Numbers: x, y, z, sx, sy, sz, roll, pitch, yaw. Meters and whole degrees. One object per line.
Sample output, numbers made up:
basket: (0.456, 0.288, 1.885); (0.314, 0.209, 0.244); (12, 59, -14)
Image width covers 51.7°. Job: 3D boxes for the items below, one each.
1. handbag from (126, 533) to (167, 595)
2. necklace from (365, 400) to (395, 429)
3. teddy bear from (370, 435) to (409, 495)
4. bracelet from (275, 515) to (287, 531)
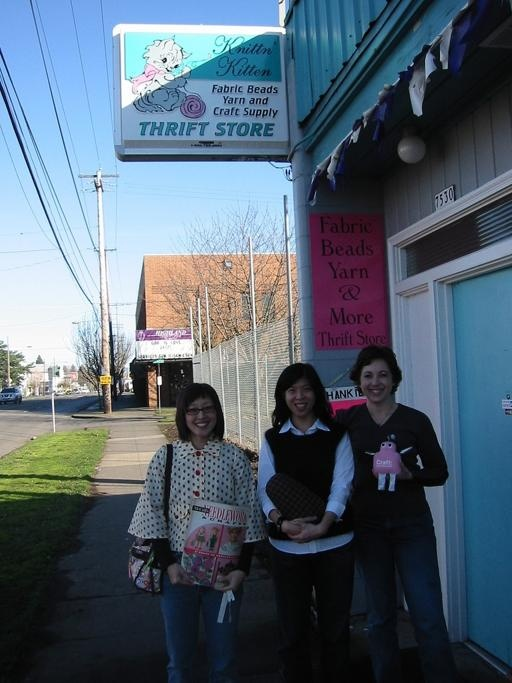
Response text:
handbag: (-0.423, 0.847, 2.020); (0.137, 0.178, 0.076); (5, 12, 24)
necklace: (0.550, 0.325, 2.341); (0.077, 0.114, 0.041); (-6, -13, 18)
teddy bear: (0.542, 0.531, 2.192); (0.178, 0.255, 0.239); (-3, -3, 25)
bracelet: (0.098, 0.711, 2.060); (0.055, 0.052, 0.036); (-11, 27, -30)
